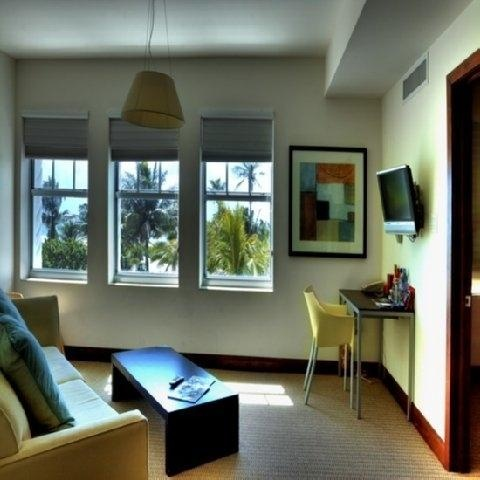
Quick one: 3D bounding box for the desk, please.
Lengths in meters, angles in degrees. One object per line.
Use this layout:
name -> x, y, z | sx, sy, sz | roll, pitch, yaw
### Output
desk -> 1.115, 0.892, 4.149 | 0.464, 0.871, 0.921 | 1, 10, 1

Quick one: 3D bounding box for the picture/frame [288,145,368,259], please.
picture/frame -> 0.813, -0.339, 4.666 | 0.732, 0.048, 1.360 | 4, -45, 14

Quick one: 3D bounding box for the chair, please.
chair -> 0.767, 0.881, 4.257 | 0.363, 0.956, 0.429 | 0, 5, 21

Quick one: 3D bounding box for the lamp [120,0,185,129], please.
lamp -> -0.683, -1.333, 3.765 | 0.425, 0.969, 1.205 | -2, 11, -13

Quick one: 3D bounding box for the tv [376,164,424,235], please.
tv -> 1.223, -0.308, 3.886 | 0.102, 0.529, 0.426 | -5, 3, -15
